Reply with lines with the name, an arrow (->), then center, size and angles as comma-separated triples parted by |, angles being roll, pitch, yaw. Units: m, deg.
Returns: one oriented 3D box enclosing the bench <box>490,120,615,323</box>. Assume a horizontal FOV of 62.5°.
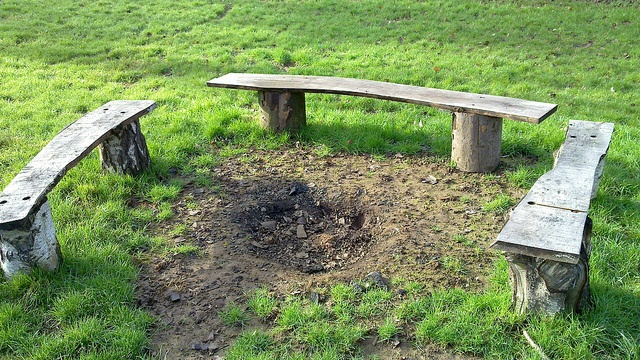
bench -> 3.261, 0.647, 7.368 | 0.803, 0.707, 3.045 | 10, 35, 31
